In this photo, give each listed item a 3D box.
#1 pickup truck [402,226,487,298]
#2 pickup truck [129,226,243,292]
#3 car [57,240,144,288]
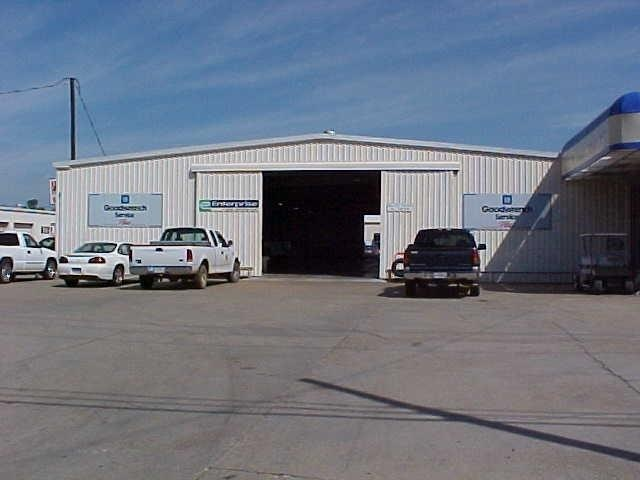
[{"bbox_3d":[3.456,0.668,18.412,2.003,1.916,2.577,1,5,13],"label":"pickup truck"},{"bbox_3d":[-3.938,0.609,20.576,1.651,1.209,3.201,1,2,16],"label":"pickup truck"},{"bbox_3d":[-7.138,0.781,21.131,1.269,0.885,2.981,0,1,8],"label":"car"}]
